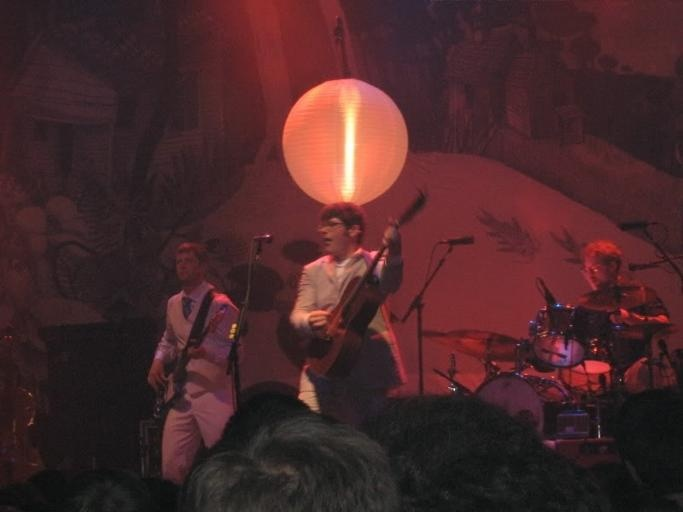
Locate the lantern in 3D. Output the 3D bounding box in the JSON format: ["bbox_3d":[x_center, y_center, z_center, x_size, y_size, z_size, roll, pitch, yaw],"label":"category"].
[{"bbox_3d":[0.046,-0.842,6.776,0.775,1.033,0.850,-1,7,13],"label":"lantern"}]

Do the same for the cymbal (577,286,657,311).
[{"bbox_3d":[2.151,0.332,6.940,0.417,0.104,0.265,1,22,6],"label":"cymbal"}]

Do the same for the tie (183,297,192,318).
[{"bbox_3d":[-1.166,0.385,6.869,0.065,0.141,0.019,1,-14,20],"label":"tie"}]

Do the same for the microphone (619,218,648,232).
[{"bbox_3d":[2.247,-0.239,6.982,0.240,0.108,0.018,10,-13,-1],"label":"microphone"}]

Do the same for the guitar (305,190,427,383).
[{"bbox_3d":[0.190,0.295,6.305,0.214,1.295,0.489,22,12,-31],"label":"guitar"}]

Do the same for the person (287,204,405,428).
[{"bbox_3d":[0.069,0.447,6.607,0.749,1.620,0.337,15,5,39],"label":"person"}]

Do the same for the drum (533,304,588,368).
[{"bbox_3d":[1.626,0.584,6.771,0.423,0.503,0.230,5,-14,14],"label":"drum"}]
